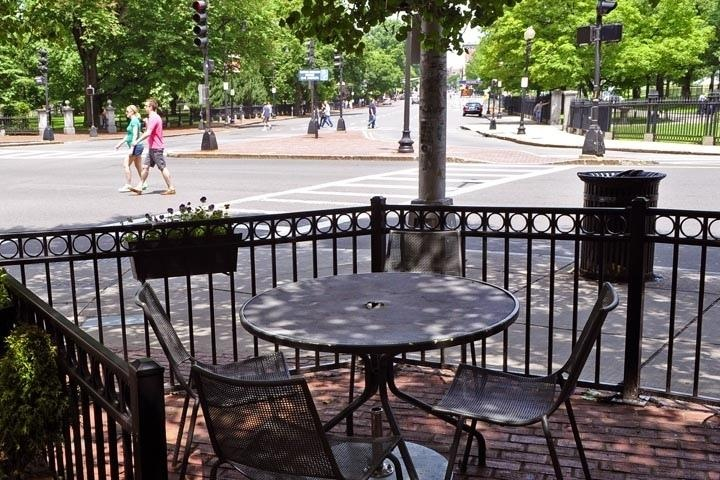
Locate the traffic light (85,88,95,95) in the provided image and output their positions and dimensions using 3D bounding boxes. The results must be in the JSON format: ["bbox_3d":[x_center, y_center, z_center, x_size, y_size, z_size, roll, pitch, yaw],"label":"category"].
[{"bbox_3d":[-17.793,-9.737,51.211,0.499,0.709,0.423,-1,2,-10],"label":"traffic light"}]

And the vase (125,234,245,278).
[{"bbox_3d":[-1.710,0.091,7.662,0.786,0.260,0.518,-3,0,-22],"label":"vase"}]

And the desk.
[{"bbox_3d":[0.117,0.581,6.464,1.888,1.143,1.851,-13,18,-39],"label":"desk"}]

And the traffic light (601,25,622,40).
[{"bbox_3d":[7.384,-6.040,22.731,0.330,0.521,0.599,-3,15,-4],"label":"traffic light"}]

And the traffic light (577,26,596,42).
[{"bbox_3d":[6.882,-6.212,23.645,0.508,0.521,0.778,1,12,19],"label":"traffic light"}]
